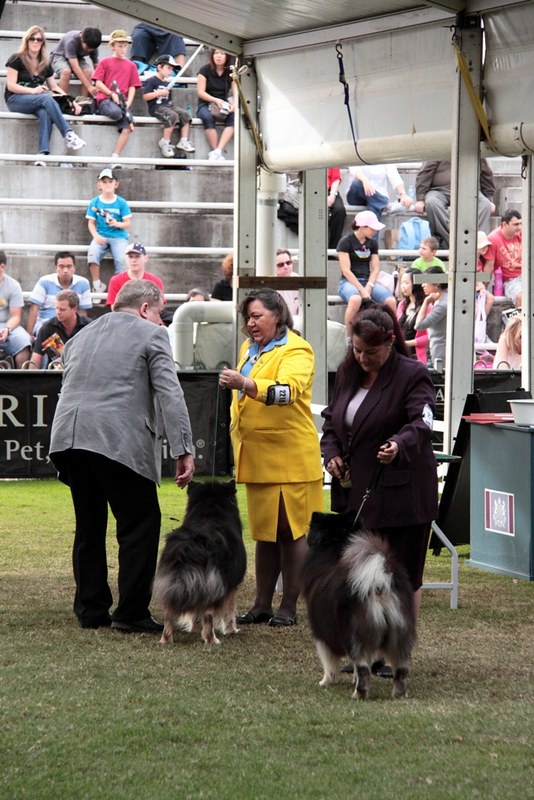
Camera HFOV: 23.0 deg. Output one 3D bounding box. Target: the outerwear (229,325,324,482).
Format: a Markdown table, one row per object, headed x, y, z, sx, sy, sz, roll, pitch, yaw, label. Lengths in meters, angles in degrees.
| x | y | z | sx | sy | sz | roll | pitch | yaw | label |
| --- | --- | --- | --- | --- | --- | --- | --- | --- | --- |
| 0.047 | 0.079 | 6.389 | 0.368 | 0.780 | 0.388 | -11 | 20 | -38 | outerwear |

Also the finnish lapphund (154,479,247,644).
| x | y | z | sx | sy | sz | roll | pitch | yaw | label |
| --- | --- | --- | --- | --- | --- | --- | --- | --- | --- |
| -0.320 | 0.781 | 6.154 | 0.440 | 0.735 | 0.464 | -1 | 14 | -10 | finnish lapphund |

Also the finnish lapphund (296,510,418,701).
| x | y | z | sx | sy | sz | roll | pitch | yaw | label |
| --- | --- | --- | --- | --- | --- | --- | --- | --- | --- |
| 0.346 | 0.786 | 5.131 | 0.306 | 0.658 | 0.828 | 2 | -6 | -12 | finnish lapphund |

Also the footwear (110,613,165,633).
| x | y | z | sx | sy | sz | roll | pitch | yaw | label |
| --- | --- | --- | --- | --- | --- | --- | --- | --- | --- |
| -0.625 | 1.060 | 6.255 | 0.242 | 0.132 | 0.097 | 0 | -1 | -5 | footwear |

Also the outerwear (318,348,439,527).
| x | y | z | sx | sy | sz | roll | pitch | yaw | label |
| --- | --- | --- | --- | --- | --- | --- | --- | --- | --- |
| 0.466 | 0.160 | 5.573 | 0.459 | 0.746 | 0.424 | 0 | 1 | -26 | outerwear |
